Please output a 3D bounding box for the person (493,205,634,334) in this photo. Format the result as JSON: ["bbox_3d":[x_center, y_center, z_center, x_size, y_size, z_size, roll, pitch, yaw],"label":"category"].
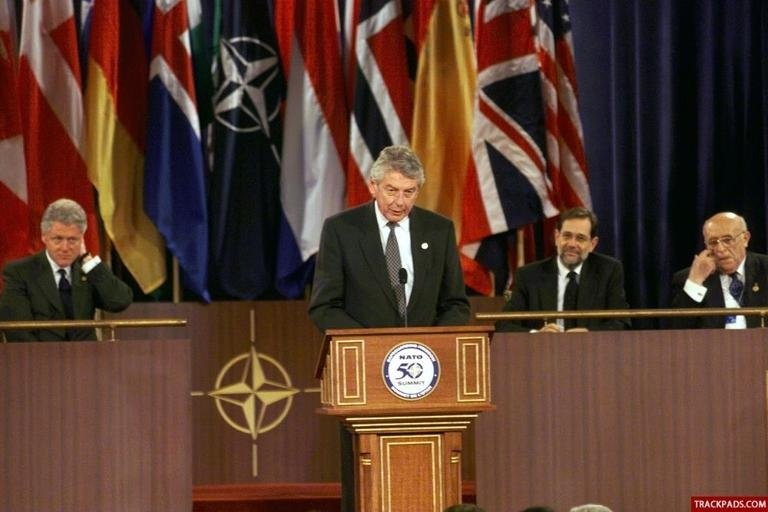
[{"bbox_3d":[1.579,0.284,12.113,1.070,1.764,0.915,2,-12,10],"label":"person"}]

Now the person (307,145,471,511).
[{"bbox_3d":[0.022,-0.084,10.339,1.137,1.287,0.543,-4,-11,3],"label":"person"}]
